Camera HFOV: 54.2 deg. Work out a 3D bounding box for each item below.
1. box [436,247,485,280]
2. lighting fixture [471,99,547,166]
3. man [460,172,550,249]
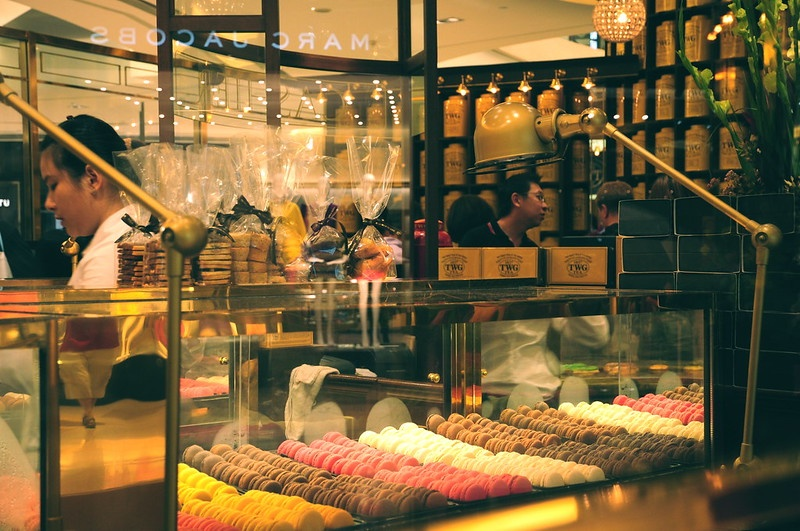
[{"bbox_3d":[0.273,-0.013,4.062,0.260,0.176,0.157,-1,2,-16],"label":"box"},{"bbox_3d":[0.348,-0.437,2.648,0.217,0.172,0.212,-21,18,-39],"label":"lighting fixture"},{"bbox_3d":[0.642,-0.321,4.938,0.464,0.549,0.634,1,6,-1],"label":"man"}]
